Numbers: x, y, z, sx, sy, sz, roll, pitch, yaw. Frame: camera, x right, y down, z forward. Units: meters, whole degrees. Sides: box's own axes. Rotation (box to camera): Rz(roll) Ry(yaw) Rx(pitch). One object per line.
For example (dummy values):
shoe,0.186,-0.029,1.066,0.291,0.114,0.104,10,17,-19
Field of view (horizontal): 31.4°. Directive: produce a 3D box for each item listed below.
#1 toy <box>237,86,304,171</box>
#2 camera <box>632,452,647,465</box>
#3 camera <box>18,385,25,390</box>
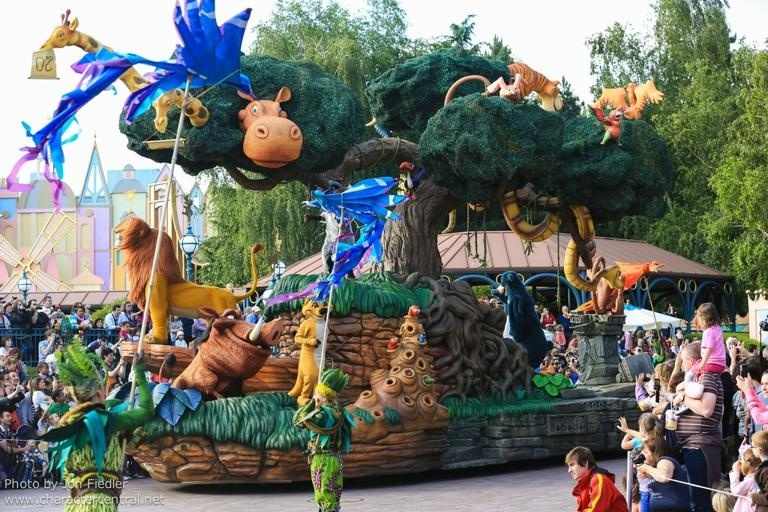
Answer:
toy,-2.314,-2.509,27.773,1.174,1.558,0.866,-9,-35,-20
camera,4.364,3.487,23.547,0.194,0.237,0.266,4,8,30
camera,-6.996,2.561,26.516,0.098,0.096,0.099,-5,-6,12
